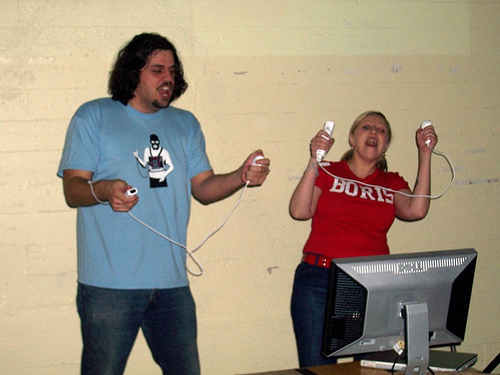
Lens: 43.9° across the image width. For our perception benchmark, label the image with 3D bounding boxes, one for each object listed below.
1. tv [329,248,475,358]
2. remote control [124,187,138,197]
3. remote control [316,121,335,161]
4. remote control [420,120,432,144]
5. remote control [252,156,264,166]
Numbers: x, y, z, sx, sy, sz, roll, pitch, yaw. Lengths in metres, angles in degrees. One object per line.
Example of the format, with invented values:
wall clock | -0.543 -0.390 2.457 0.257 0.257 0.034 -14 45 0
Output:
tv | 0.718 0.591 2.827 0.671 0.550 0.239 -4 26 -7
remote control | -0.556 0.020 2.948 0.072 0.043 0.043 -21 -17 28
remote control | 0.419 -0.269 3.465 0.065 0.268 0.063 19 0 14
remote control | 1.071 -0.344 3.814 0.069 0.158 0.348 2 3 16
remote control | 0.036 -0.136 3.193 0.052 0.048 0.025 1 2 -1
